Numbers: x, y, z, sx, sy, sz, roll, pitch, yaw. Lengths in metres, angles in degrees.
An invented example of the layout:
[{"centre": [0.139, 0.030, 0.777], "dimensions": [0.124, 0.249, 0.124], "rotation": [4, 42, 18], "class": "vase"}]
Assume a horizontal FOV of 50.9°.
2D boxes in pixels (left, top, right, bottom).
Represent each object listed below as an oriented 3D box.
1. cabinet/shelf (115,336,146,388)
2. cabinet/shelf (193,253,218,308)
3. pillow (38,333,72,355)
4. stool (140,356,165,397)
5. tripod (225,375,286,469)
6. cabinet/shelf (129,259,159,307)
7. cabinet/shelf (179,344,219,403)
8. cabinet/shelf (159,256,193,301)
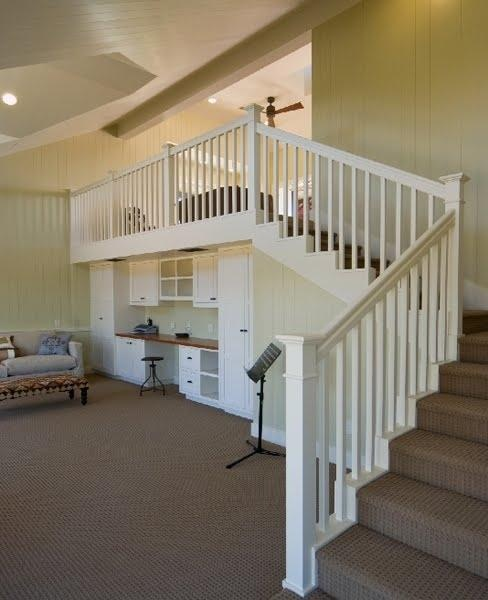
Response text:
[{"centre": [-1.519, 0.816, 6.876], "dimensions": [0.235, 0.609, 0.627], "rotation": [1, -1, -40], "class": "cabinet/shelf"}, {"centre": [-0.435, -0.236, 5.932], "dimensions": [0.413, 0.612, 0.324], "rotation": [-2, 10, -21], "class": "cabinet/shelf"}, {"centre": [-2.419, 0.563, 6.526], "dimensions": [0.273, 0.091, 0.303], "rotation": [1, 42, -22], "class": "pillow"}, {"centre": [-1.145, 0.947, 6.406], "dimensions": [0.420, 0.459, 0.428], "rotation": [0, 1, -38], "class": "stool"}, {"centre": [0.184, 0.874, 4.045], "dimensions": [0.543, 0.669, 0.508], "rotation": [-9, -17, 40], "class": "tripod"}, {"centre": [-1.350, -0.252, 6.959], "dimensions": [0.200, 0.575, 0.573], "rotation": [0, -3, -41], "class": "cabinet/shelf"}, {"centre": [-0.418, 0.817, 5.745], "dimensions": [0.694, 0.625, 0.293], "rotation": [0, 1, 41], "class": "cabinet/shelf"}, {"centre": [-0.910, -0.282, 6.588], "dimensions": [0.531, 0.493, 0.193], "rotation": [2, 0, 31], "class": "cabinet/shelf"}]
